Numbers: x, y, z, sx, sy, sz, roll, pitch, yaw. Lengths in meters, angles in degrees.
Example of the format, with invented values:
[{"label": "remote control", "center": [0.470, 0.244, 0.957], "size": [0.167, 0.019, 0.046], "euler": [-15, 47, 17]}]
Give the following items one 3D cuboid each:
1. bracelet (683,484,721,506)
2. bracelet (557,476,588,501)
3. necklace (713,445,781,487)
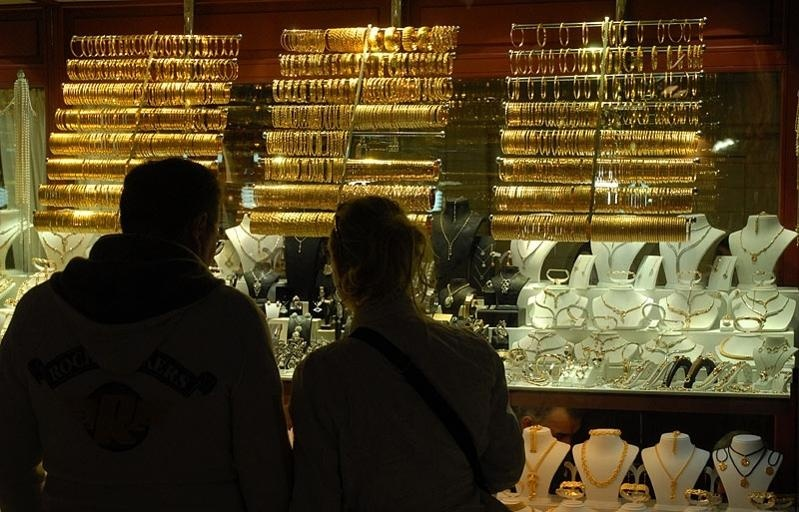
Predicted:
[{"label": "bracelet", "center": [1.725, 1.374, 4.735], "size": [0.260, 0.120, 0.103], "euler": [2, 1, -33]}, {"label": "bracelet", "center": [0.962, 1.332, 4.807], "size": [0.118, 0.073, 0.149], "euler": [2, -8, -9]}, {"label": "necklace", "center": [1.981, 1.244, 4.823], "size": [0.349, 0.346, 0.201], "euler": [-3, 29, 22]}]
